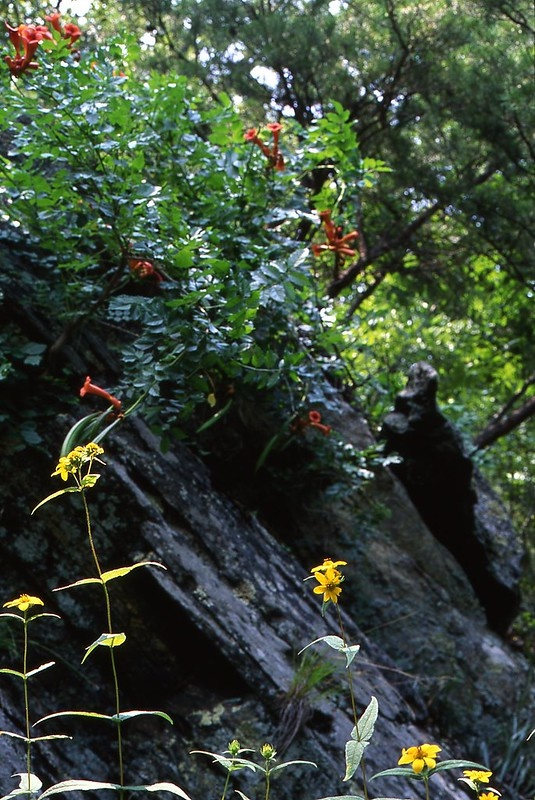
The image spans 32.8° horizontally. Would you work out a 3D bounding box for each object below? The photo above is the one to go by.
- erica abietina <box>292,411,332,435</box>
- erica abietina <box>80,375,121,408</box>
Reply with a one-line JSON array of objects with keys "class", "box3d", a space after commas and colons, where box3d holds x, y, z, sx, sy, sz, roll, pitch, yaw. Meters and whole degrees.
[{"class": "erica abietina", "box3d": [0.189, 0.097, 3.750, 0.124, 0.051, 0.119, 18, -26, -32]}, {"class": "erica abietina", "box3d": [-0.702, -0.048, 3.926, 0.159, 0.072, 0.084, 29, 35, -17]}]
